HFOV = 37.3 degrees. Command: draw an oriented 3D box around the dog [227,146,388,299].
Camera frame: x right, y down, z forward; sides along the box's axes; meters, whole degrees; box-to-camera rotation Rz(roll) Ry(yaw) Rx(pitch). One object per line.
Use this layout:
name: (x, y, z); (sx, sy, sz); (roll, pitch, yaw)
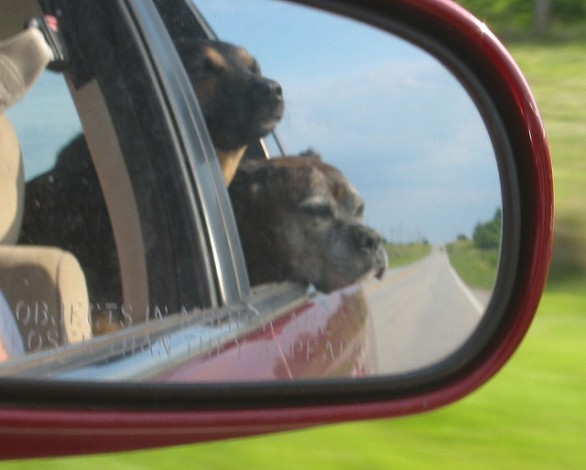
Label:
dog: (-0.003, -0.014, 1.898); (0.376, 0.326, 0.252); (2, -5, 29)
